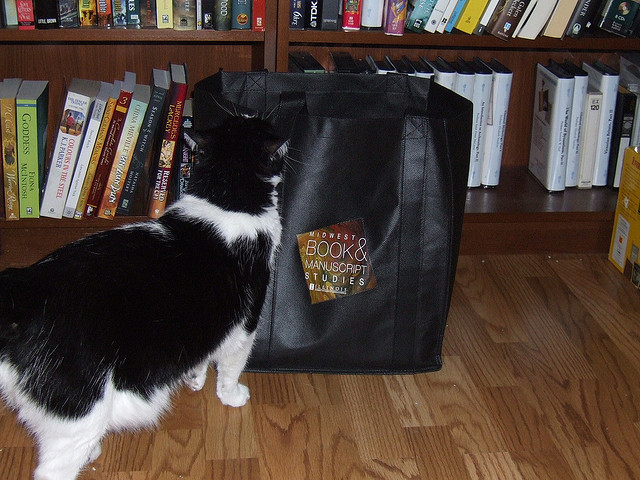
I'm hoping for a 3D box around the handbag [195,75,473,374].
[{"bbox_3d":[0.110,-0.154,1.536,0.786,0.832,0.551,2,32,-3],"label":"handbag"}]

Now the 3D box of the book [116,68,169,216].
[{"bbox_3d":[-0.530,-0.283,1.595,0.048,0.365,0.322,12,36,-17],"label":"book"}]

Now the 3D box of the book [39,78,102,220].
[{"bbox_3d":[-0.739,-0.270,1.616,0.072,0.347,0.322,12,16,-10],"label":"book"}]

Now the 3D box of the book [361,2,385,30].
[{"bbox_3d":[0.155,-0.690,1.668,0.063,0.092,0.076,18,43,23],"label":"book"}]

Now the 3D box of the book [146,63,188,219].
[{"bbox_3d":[-0.442,-0.287,1.552,0.047,0.367,0.326,11,37,-18],"label":"book"}]

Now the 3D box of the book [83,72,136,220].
[{"bbox_3d":[-0.624,-0.274,1.584,0.053,0.377,0.401,15,-8,-20],"label":"book"}]

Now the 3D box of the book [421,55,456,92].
[{"bbox_3d":[0.386,-0.555,1.764,0.081,0.075,0.218,0,28,-4],"label":"book"}]

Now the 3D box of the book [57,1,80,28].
[{"bbox_3d":[-0.710,-0.635,1.502,0.033,0.062,0.048,1,39,-1],"label":"book"}]

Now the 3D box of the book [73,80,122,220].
[{"bbox_3d":[-0.658,-0.279,1.578,0.039,0.267,0.312,15,43,-5],"label":"book"}]

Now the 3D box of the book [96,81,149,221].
[{"bbox_3d":[-0.618,-0.263,1.607,0.067,0.325,0.302,13,18,-9],"label":"book"}]

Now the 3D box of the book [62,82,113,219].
[{"bbox_3d":[-0.684,-0.277,1.574,0.043,0.257,0.306,12,53,-6],"label":"book"}]
